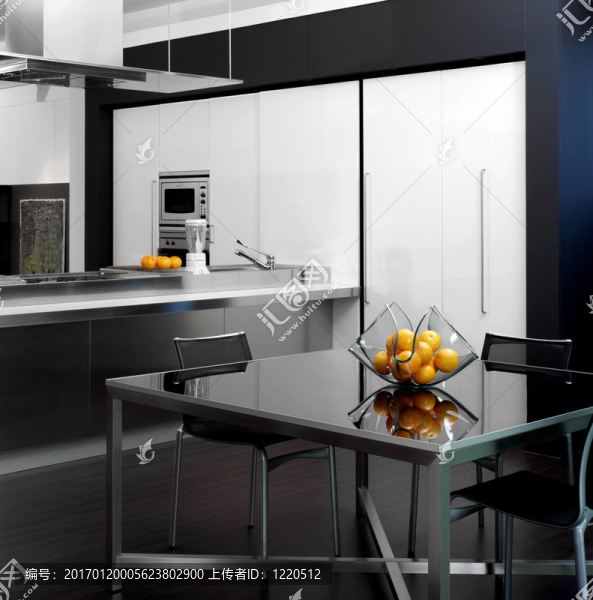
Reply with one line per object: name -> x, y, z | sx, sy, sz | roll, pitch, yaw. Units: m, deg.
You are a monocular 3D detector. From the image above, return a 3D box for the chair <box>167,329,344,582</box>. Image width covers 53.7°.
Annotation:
chair -> -0.150, 0.529, 2.047 | 0.480, 0.853, 0.375 | -5, -2, 42

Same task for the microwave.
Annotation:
microwave -> -1.117, -0.913, 5.853 | 0.462, 0.820, 0.506 | 0, 23, -9

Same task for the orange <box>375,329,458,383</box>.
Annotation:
orange -> 0.310, 0.142, 1.509 | 0.228, 0.145, 0.189 | 0, 2, 8

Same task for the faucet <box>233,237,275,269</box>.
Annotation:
faucet -> -0.336, -0.397, 4.856 | 0.071, 0.161, 0.534 | -3, 26, -32

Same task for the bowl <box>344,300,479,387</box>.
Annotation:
bowl -> 0.318, 0.142, 1.631 | 0.319, 0.230, 0.352 | -13, -20, 38

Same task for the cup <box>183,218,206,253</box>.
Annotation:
cup -> -0.711, -0.468, 4.256 | 0.142, 0.257, 0.203 | 0, 2, 18
